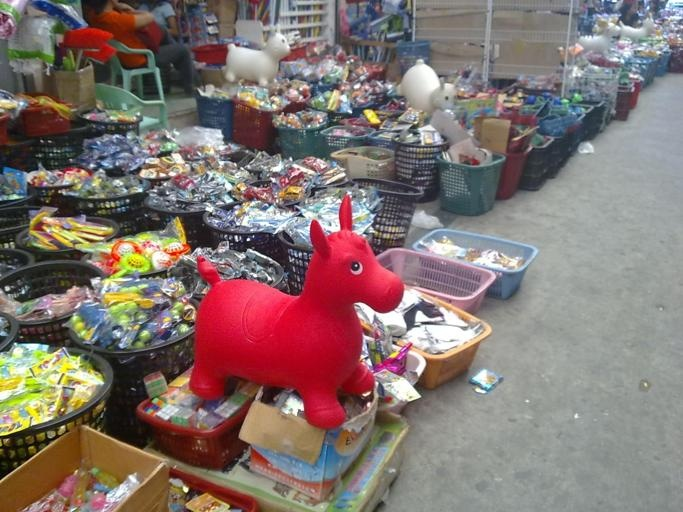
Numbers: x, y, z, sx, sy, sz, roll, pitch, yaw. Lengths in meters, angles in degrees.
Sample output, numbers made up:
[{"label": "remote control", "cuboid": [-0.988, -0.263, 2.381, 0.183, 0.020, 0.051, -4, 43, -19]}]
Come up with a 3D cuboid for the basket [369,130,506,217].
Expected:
[{"label": "basket", "cuboid": [0.855, -0.735, 4.751, 1.031, 0.446, 0.663, 24, 39, 22]}]

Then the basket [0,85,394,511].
[{"label": "basket", "cuboid": [-0.325, 0.138, 2.306, 1.265, 1.301, 0.782, 12, 28, 12]}]

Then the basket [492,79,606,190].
[{"label": "basket", "cuboid": [2.050, -1.338, 5.506, 1.181, 0.628, 1.878, 17, 35, 31]}]

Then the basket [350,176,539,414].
[{"label": "basket", "cuboid": [0.634, 0.200, 3.775, 1.432, 0.474, 1.075, 27, 36, 31]}]
